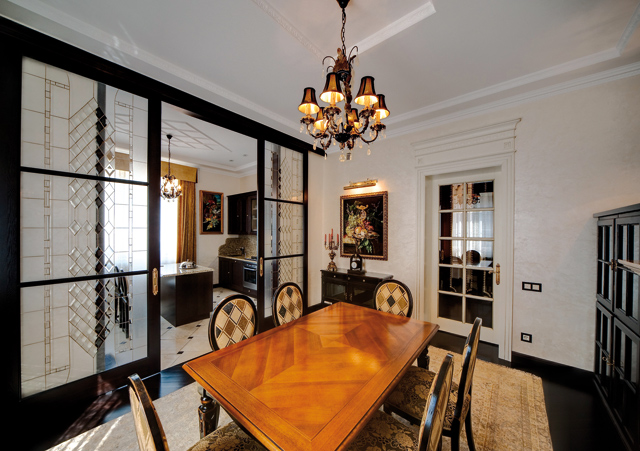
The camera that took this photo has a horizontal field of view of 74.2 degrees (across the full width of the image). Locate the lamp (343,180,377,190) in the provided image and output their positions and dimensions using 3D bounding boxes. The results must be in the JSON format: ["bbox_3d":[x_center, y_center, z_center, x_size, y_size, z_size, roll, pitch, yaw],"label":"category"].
[{"bbox_3d":[0.618,-0.638,6.692,0.646,0.166,0.087,0,-2,43],"label":"lamp"}]

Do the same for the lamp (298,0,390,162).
[{"bbox_3d":[0.277,-1.460,5.079,1.027,1.053,1.978,1,-2,-1],"label":"lamp"}]

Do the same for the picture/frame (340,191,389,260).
[{"bbox_3d":[0.713,-0.004,6.564,0.966,1.253,0.081,-1,-2,42],"label":"picture/frame"}]

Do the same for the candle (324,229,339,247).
[{"bbox_3d":[0.188,0.203,7.007,0.017,0.299,0.241,8,-10,-36],"label":"candle"}]

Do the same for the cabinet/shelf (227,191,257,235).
[{"bbox_3d":[-1.583,-0.251,8.694,0.819,0.809,0.298,-1,0,40],"label":"cabinet/shelf"}]
